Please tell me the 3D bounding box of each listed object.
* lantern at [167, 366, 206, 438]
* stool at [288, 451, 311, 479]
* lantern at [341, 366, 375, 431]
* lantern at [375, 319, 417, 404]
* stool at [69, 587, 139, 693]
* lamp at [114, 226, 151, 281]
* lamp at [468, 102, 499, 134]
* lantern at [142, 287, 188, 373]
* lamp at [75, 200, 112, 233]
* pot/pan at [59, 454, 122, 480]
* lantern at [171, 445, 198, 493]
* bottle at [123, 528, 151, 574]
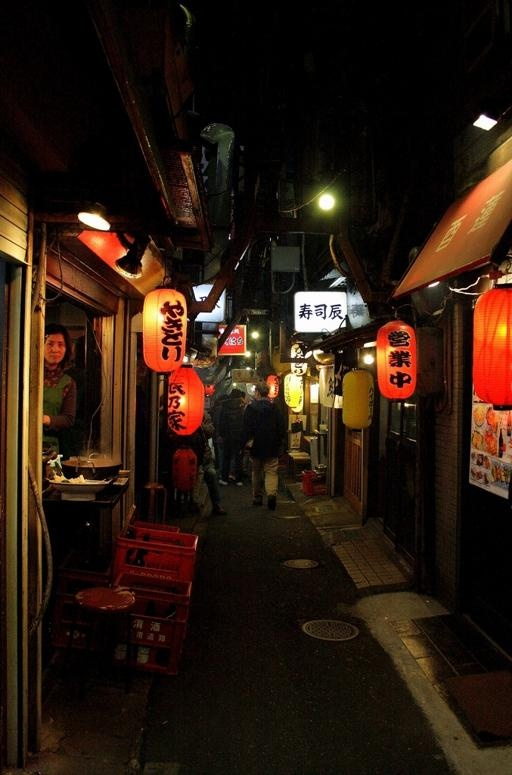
[{"bbox_3d":[-1.283,0.244,10.811,0.632,1.224,0.372,1,0,-4],"label":"lantern"},{"bbox_3d":[1.500,2.705,20.323,0.623,0.911,1.582,1,0,-1],"label":"stool"},{"bbox_3d":[1.862,0.212,10.983,0.496,1.132,0.407,1,0,22],"label":"lantern"},{"bbox_3d":[2.097,-0.415,8.823,0.290,1.180,0.783,1,0,-35],"label":"lantern"},{"bbox_3d":[-1.563,2.518,6.136,0.548,0.989,1.539,1,0,-15],"label":"stool"},{"bbox_3d":[-1.468,-1.548,6.840,0.325,0.507,0.454,1,0,34],"label":"lamp"},{"bbox_3d":[2.531,-3.041,6.593,0.285,0.332,0.214,1,0,-24],"label":"lamp"},{"bbox_3d":[-1.213,-0.782,7.982,0.557,1.098,0.261,1,0,-10],"label":"lantern"},{"bbox_3d":[-1.424,-1.525,5.231,0.266,0.220,0.458,1,0,-15],"label":"lamp"},{"bbox_3d":[-1.757,0.867,6.568,0.526,0.237,0.831,1,0,6],"label":"pot/pan"},{"bbox_3d":[-1.443,1.697,12.178,0.521,0.919,0.644,1,0,16],"label":"lantern"},{"bbox_3d":[-1.416,1.963,7.130,0.353,0.260,0.568,3,-9,-3],"label":"bottle"}]
